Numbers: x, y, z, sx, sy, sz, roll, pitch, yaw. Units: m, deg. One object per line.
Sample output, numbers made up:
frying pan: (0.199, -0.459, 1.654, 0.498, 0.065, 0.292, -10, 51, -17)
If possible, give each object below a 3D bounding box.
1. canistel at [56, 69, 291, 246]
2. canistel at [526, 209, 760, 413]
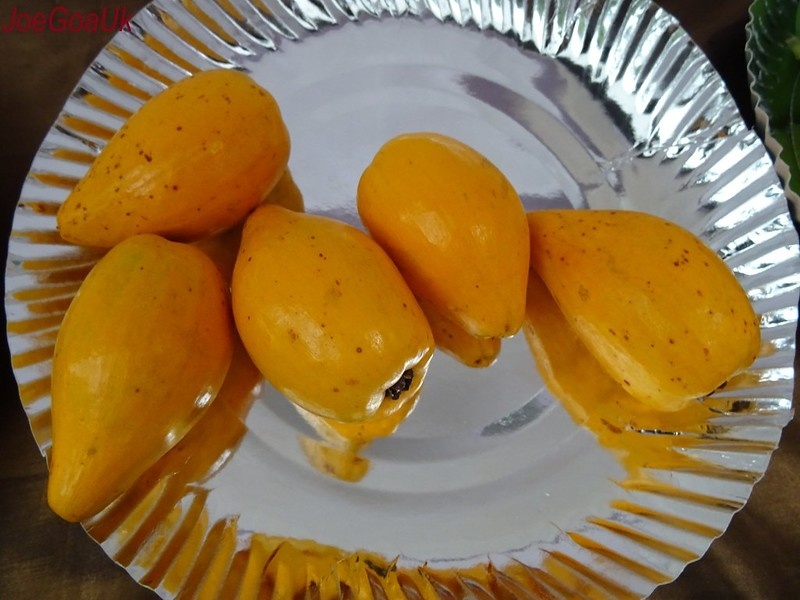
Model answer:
canistel: (-0.371, -0.253, 1.577, 0.255, 0.437, 0.268, 15, 94, 21)
canistel: (0.376, -0.020, 1.541, 0.226, 0.123, 0.394, -37, 78, -12)
